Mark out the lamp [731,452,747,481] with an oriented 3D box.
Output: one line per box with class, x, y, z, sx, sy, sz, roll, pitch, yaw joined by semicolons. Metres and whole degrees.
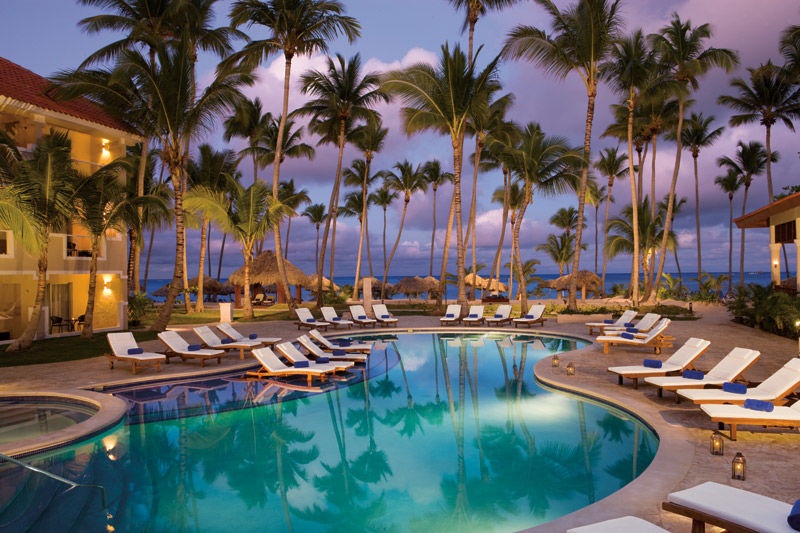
lamp;7.227;4.209;12.377;0.275;0.547;0.246;4;14;19
